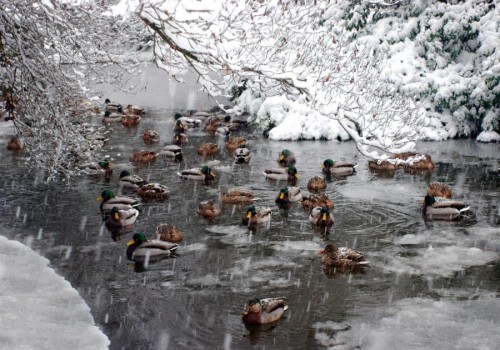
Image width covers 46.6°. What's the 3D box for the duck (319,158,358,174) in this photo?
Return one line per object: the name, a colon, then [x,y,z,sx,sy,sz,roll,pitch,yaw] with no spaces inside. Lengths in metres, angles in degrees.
duck: [4.561,-0.420,29.733,1.566,0.540,0.819,1,4,-19]
